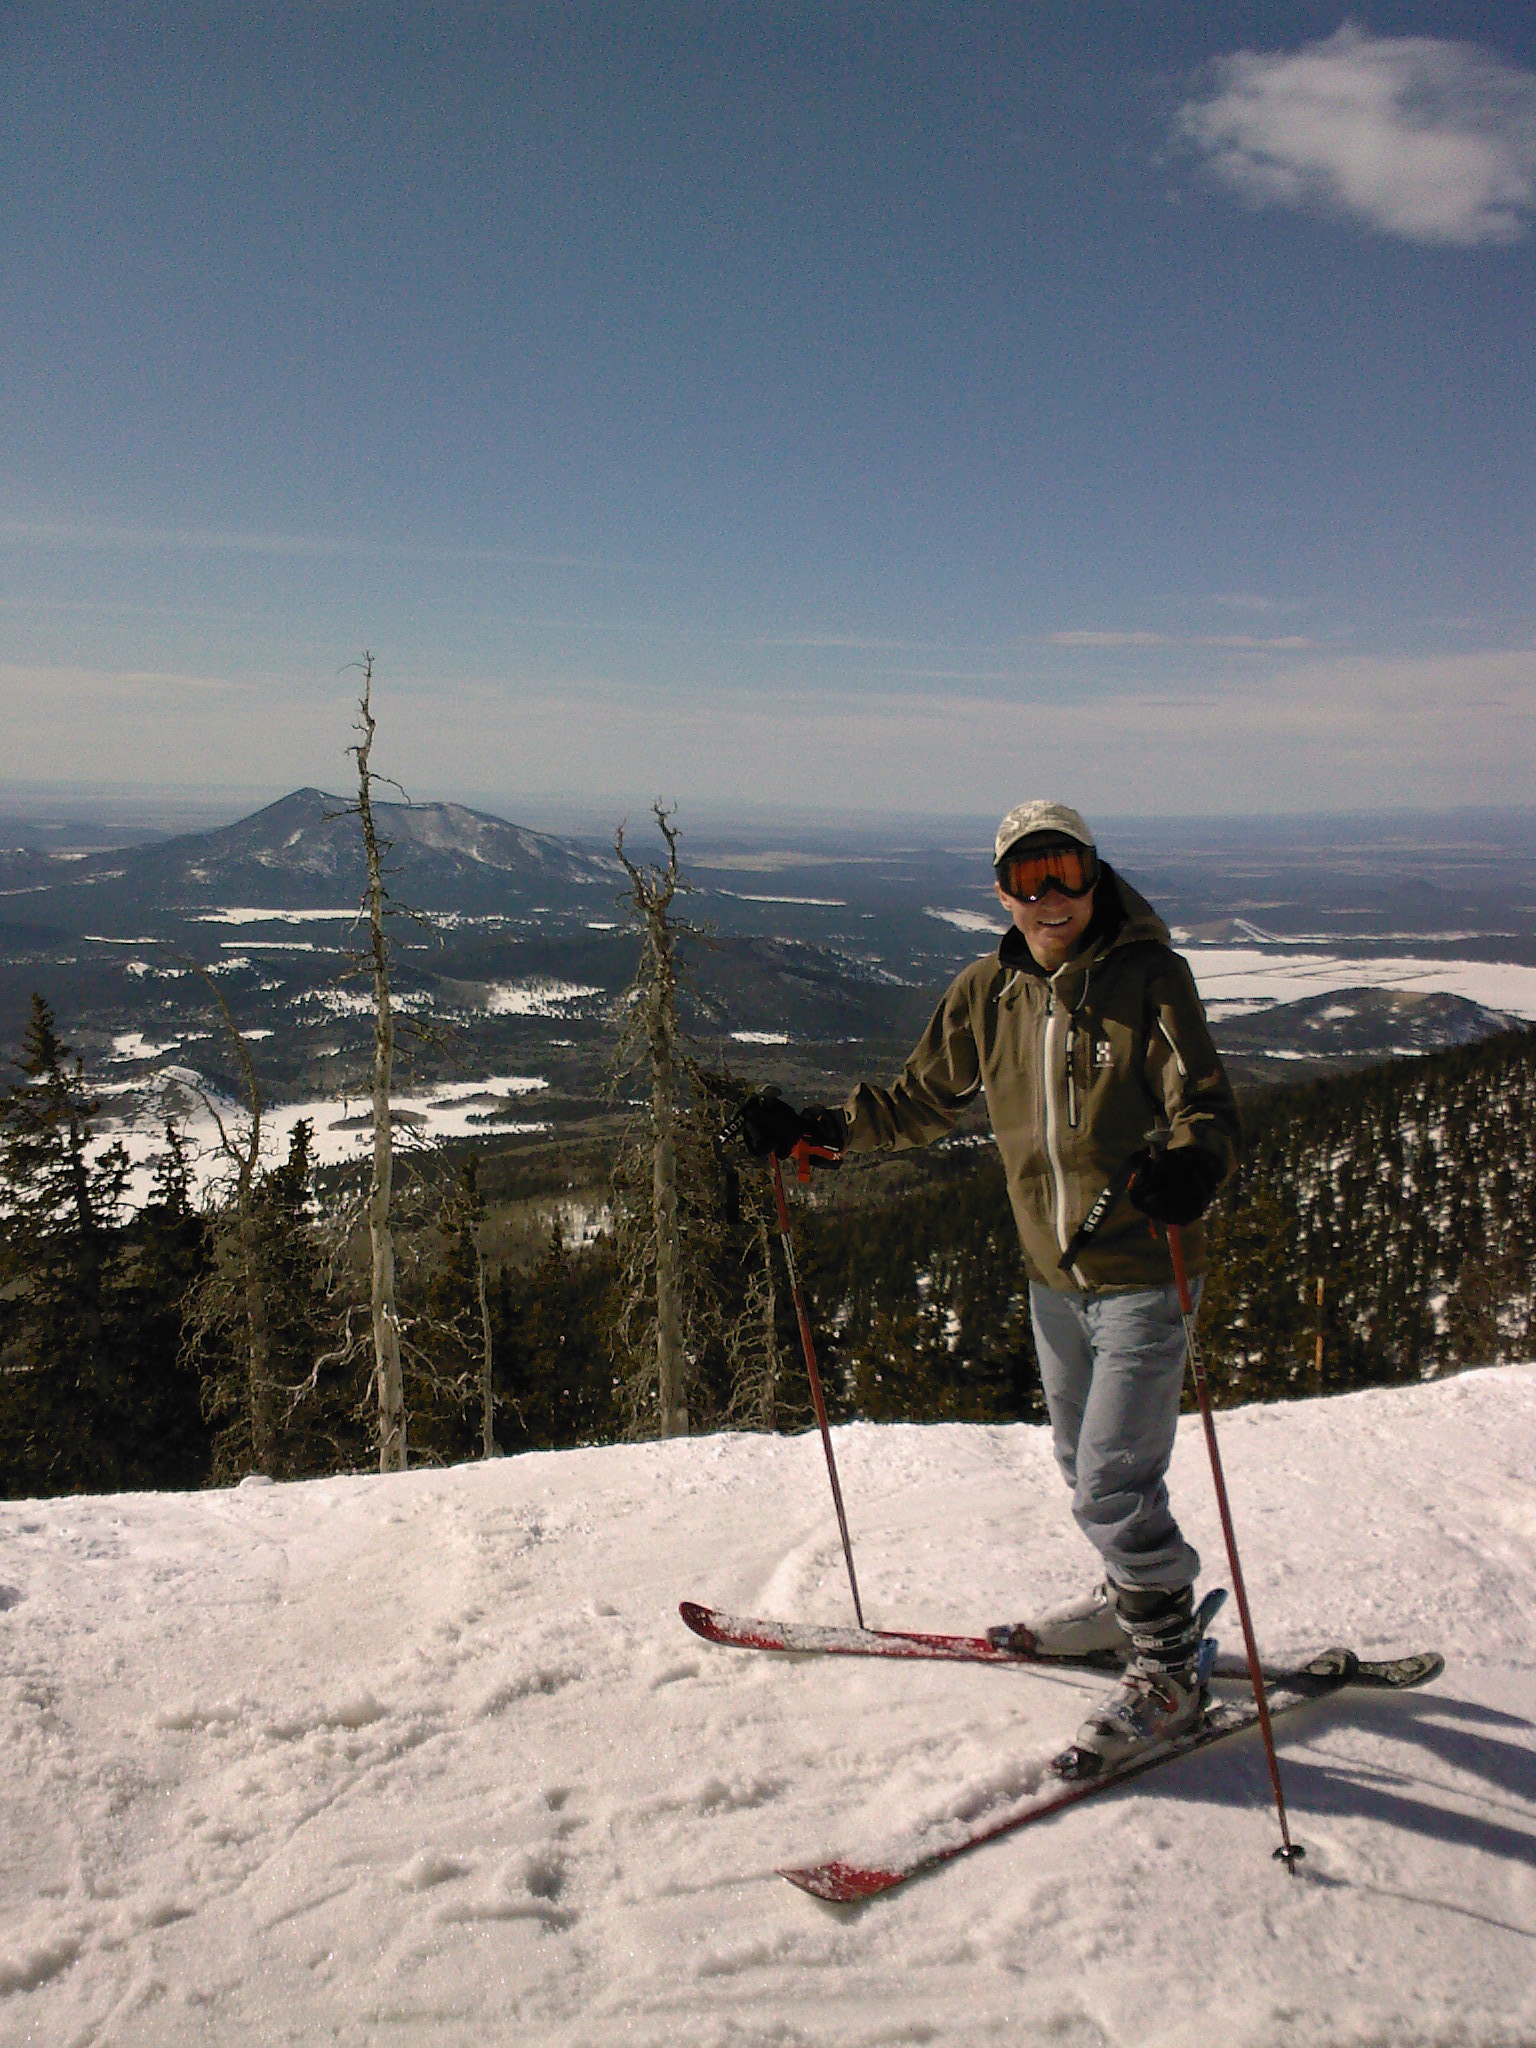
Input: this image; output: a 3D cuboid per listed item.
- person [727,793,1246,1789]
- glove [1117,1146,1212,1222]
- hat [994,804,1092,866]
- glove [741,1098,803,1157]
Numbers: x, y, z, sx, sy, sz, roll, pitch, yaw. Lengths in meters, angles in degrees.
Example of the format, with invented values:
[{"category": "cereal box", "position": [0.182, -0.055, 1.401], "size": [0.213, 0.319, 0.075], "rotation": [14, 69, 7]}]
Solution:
[{"category": "person", "position": [0.896, 0.739, 5.708], "size": [0.596, 2.892, 1.550], "rotation": [-4, 8, -24]}, {"category": "glove", "position": [1.190, 0.469, 5.112], "size": [0.274, 0.244, 0.231], "rotation": [1, 8, 13]}, {"category": "hat", "position": [0.849, -0.585, 5.347], "size": [0.347, 0.172, 0.163], "rotation": [3, 8, 26]}, {"category": "glove", "position": [0.003, 0.390, 6.701], "size": [0.196, 0.245, 0.111], "rotation": [-4, -17, 19]}]
